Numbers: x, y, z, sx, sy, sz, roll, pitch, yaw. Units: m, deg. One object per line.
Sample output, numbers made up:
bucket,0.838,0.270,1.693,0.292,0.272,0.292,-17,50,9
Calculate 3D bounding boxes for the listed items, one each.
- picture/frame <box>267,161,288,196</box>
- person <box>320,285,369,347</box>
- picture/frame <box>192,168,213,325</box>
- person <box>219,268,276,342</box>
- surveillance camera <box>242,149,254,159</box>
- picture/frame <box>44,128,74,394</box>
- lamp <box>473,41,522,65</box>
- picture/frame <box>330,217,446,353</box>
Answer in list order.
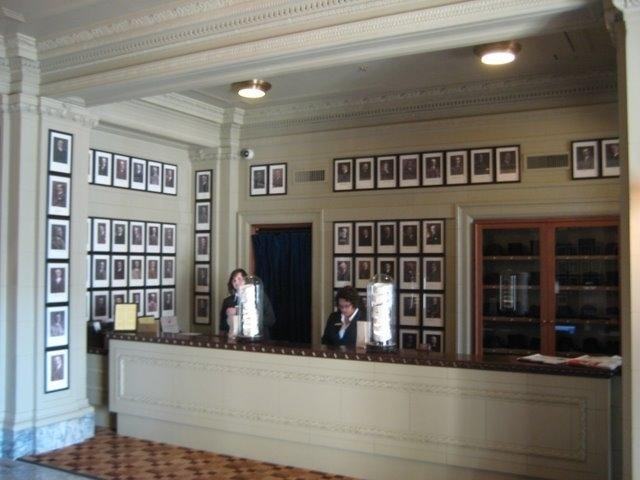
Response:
picture/frame,-0.735,-1.093,9.529,0.578,0.829,0.059,1,2,29
person,0.318,0.986,6.924,0.555,0.762,1.051,1,-5,0
picture/frame,-2.161,0.114,9.860,0.459,2.819,0.137,-2,-5,27
person,-1.101,0.936,7.921,0.787,1.113,0.578,-1,16,17
surveillance camera,-1.311,-1.559,9.709,0.248,0.164,0.157,-3,-6,36
picture/frame,-3.453,0.269,7.082,0.127,3.388,0.463,-2,-5,28
lamp,2.173,-2.309,6.593,0.460,0.174,0.410,-4,-7,43
picture/frame,1.106,0.650,7.877,1.943,2.642,0.052,-1,-2,26
